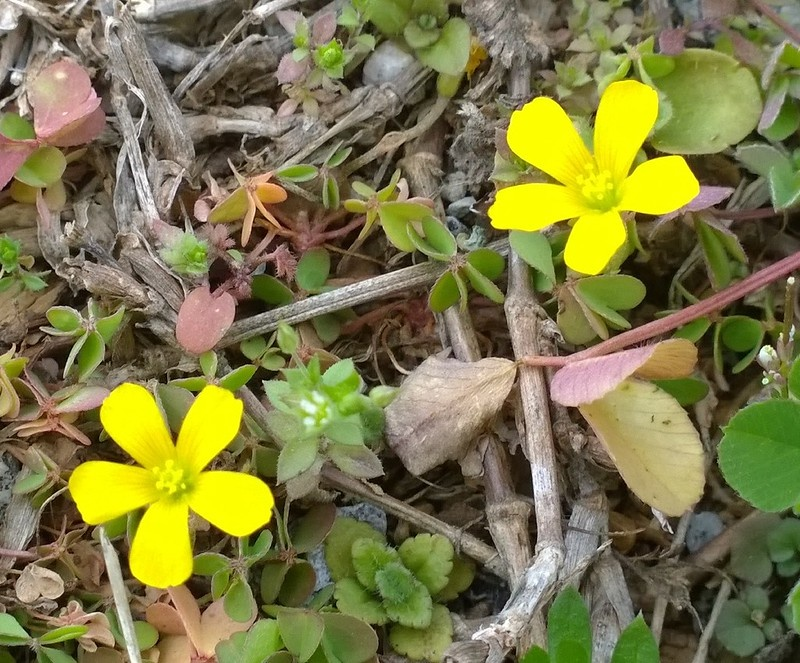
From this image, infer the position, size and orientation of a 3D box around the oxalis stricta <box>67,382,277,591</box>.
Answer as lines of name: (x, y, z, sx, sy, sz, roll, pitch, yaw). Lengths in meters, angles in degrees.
oxalis stricta: (-0.702, 0.445, 2.340, 0.574, 0.180, 0.597, -25, 63, -22)

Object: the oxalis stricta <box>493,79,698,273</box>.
oxalis stricta: (0.612, -0.412, 2.542, 0.612, 0.240, 0.635, -18, 65, 17)
